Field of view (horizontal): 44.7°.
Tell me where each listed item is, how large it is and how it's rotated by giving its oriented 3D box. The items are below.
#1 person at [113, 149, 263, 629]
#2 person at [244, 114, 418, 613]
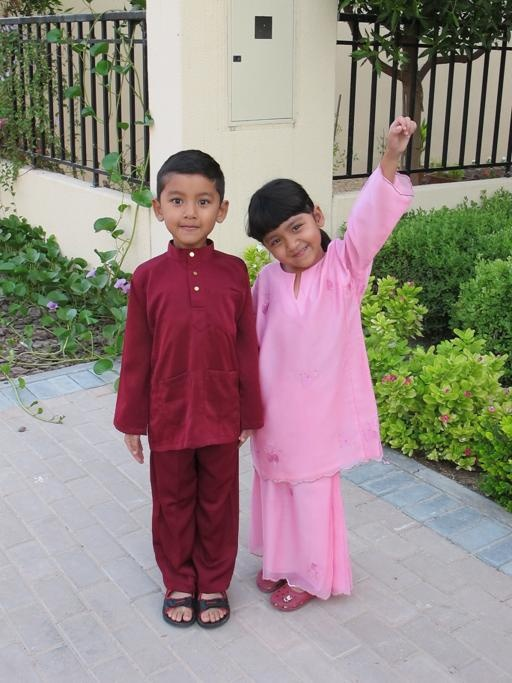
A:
[{"bbox_3d":[-0.174,0.251,1.623,0.368,1.030,0.221,-2,12,-15],"label":"person"},{"bbox_3d":[0.157,0.131,1.608,0.461,1.279,0.351,5,12,21],"label":"person"}]
